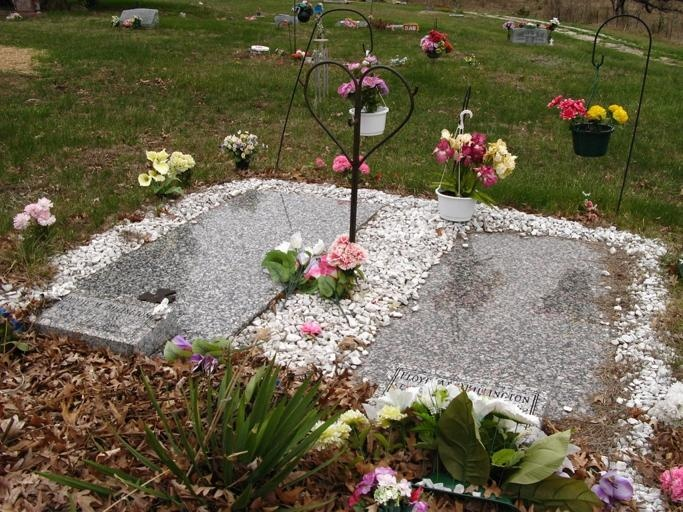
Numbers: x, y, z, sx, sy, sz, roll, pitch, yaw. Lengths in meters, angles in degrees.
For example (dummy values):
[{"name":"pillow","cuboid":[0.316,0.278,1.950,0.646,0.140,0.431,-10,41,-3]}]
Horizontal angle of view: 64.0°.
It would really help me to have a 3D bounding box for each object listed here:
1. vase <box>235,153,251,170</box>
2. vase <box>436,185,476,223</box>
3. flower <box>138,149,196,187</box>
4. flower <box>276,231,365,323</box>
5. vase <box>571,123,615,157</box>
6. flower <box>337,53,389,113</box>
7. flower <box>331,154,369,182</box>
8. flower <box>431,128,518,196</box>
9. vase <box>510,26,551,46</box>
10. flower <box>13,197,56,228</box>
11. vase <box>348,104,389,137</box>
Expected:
[{"name":"vase","cuboid":[-1.103,-1.055,6.118,0.156,0.163,0.153,-5,67,-11]},{"name":"vase","cuboid":[1.058,-0.451,5.077,0.349,0.208,0.343,2,26,-6]},{"name":"flower","cuboid":[-1.722,-0.865,5.434,0.531,0.282,0.458,-1,19,-29]},{"name":"flower","cuboid":[-0.115,0.084,4.223,0.651,0.640,0.521,5,54,19]},{"name":"vase","cuboid":[3.135,-1.500,6.948,0.476,0.299,0.453,-11,22,-27]},{"name":"flower","cuboid":[0.252,-1.687,5.618,0.464,0.473,0.442,12,29,42]},{"name":"flower","cuboid":[0.104,-1.004,5.994,0.442,0.265,0.336,11,40,0]},{"name":"flower","cuboid":[1.220,-0.822,5.114,0.729,0.562,0.563,16,10,25]},{"name":"vase","cuboid":[5.310,-6.198,15.415,1.087,0.432,0.752,14,37,12]},{"name":"flower","cuboid":[-2.289,-0.284,4.090,0.300,0.197,0.284,3,49,-23]},{"name":"vase","cuboid":[0.290,-1.346,5.589,0.408,0.252,0.401,-9,25,-15]}]
